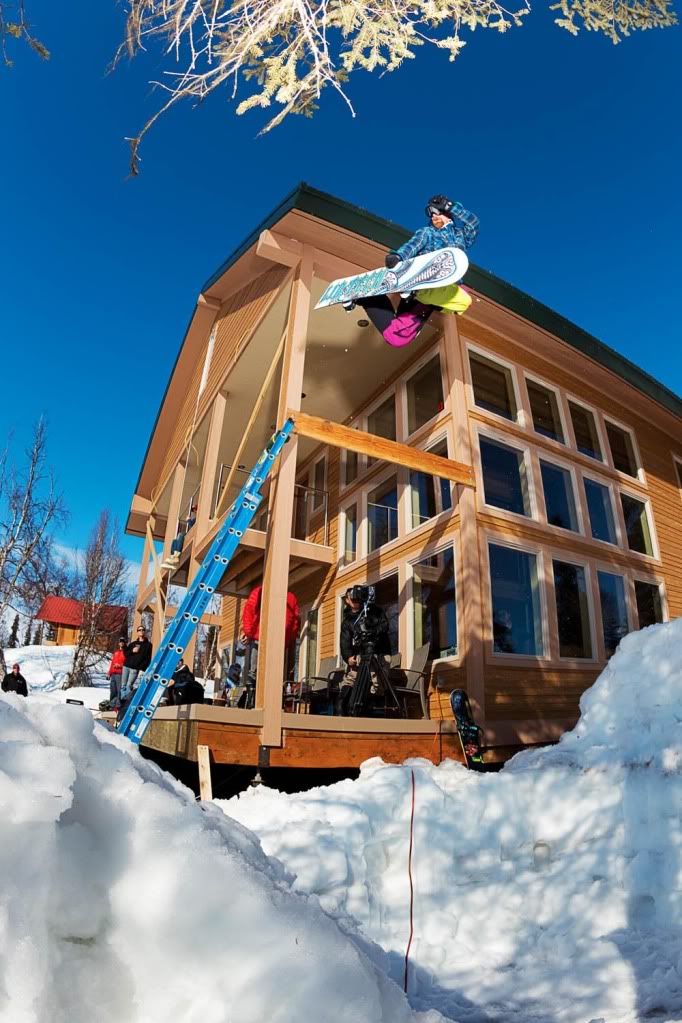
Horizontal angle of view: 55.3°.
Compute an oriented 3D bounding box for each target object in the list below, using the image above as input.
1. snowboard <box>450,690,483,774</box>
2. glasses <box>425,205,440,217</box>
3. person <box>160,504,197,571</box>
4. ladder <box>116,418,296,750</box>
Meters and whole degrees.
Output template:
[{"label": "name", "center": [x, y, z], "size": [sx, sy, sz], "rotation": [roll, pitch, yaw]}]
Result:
[{"label": "snowboard", "center": [1.350, 2.299, 6.874], "size": [0.312, 0.814, 0.585], "rotation": [-3, -28, 19]}, {"label": "glasses", "center": [0.985, -3.190, 6.855], "size": [0.130, 0.090, 0.070], "rotation": [-10, 10, -21]}, {"label": "person", "center": [-3.051, 0.468, 12.261], "size": [0.392, 1.259, 0.513], "rotation": [6, -8, 39]}, {"label": "ladder", "center": [-1.288, 0.575, 6.536], "size": [0.998, 3.558, 2.046], "rotation": [14, -27, -13]}]
